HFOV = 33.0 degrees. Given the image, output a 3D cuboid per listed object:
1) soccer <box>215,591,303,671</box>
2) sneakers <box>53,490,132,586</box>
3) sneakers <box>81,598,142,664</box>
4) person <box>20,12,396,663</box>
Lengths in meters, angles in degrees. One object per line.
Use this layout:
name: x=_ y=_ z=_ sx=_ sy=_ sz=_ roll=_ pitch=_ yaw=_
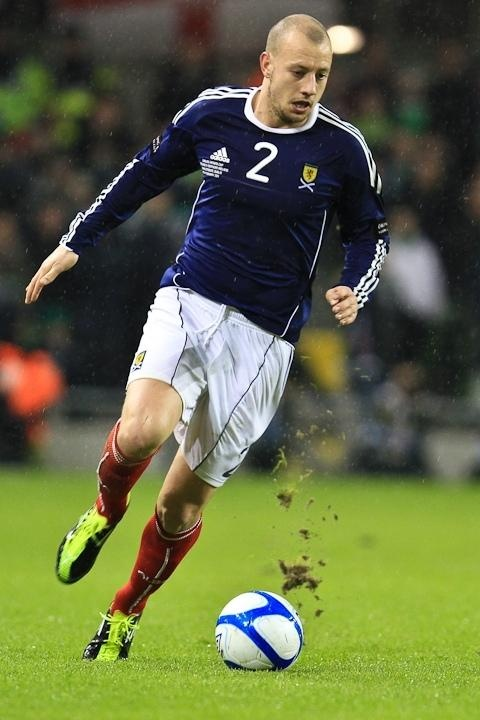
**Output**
soccer: x=0.036 y=0.723 z=2.269 sx=0.220 sy=0.207 sz=0.203 roll=-24 pitch=0 yaw=-6
sneakers: x=-0.461 y=0.543 z=2.420 sx=0.120 sy=0.295 sz=0.136 roll=37 pitch=2 yaw=40
sneakers: x=-0.378 y=0.809 z=2.390 sx=0.080 sy=0.083 sz=0.200 roll=31 pitch=20 yaw=-5
person: x=-0.109 y=-0.095 z=2.542 sx=0.882 sy=1.956 sz=0.733 roll=5 pitch=15 yaw=-40
